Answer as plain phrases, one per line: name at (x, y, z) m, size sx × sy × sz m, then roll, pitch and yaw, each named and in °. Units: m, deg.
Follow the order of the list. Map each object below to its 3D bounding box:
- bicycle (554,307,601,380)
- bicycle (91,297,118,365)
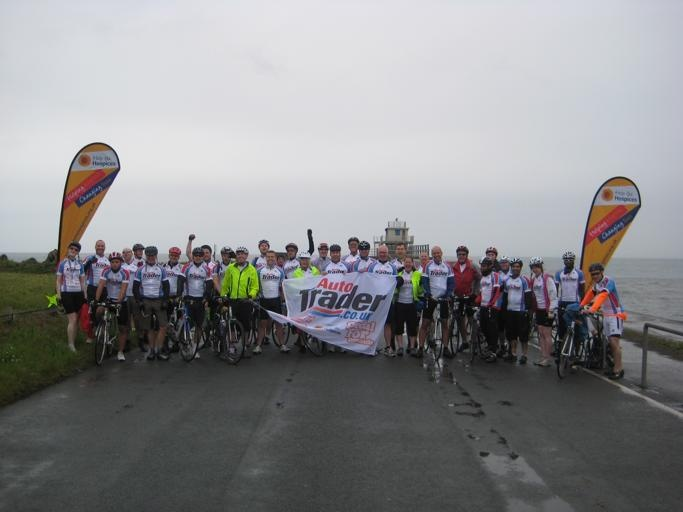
bicycle at (5.029, 1.820, 12.307) m, size 0.875 × 1.045 × 1.605 m, roll -6°, pitch -7°, yaw 41°
bicycle at (-5.267, 1.632, 13.191) m, size 0.484 × 1.371 × 1.357 m, roll 0°, pitch 1°, yaw -20°
